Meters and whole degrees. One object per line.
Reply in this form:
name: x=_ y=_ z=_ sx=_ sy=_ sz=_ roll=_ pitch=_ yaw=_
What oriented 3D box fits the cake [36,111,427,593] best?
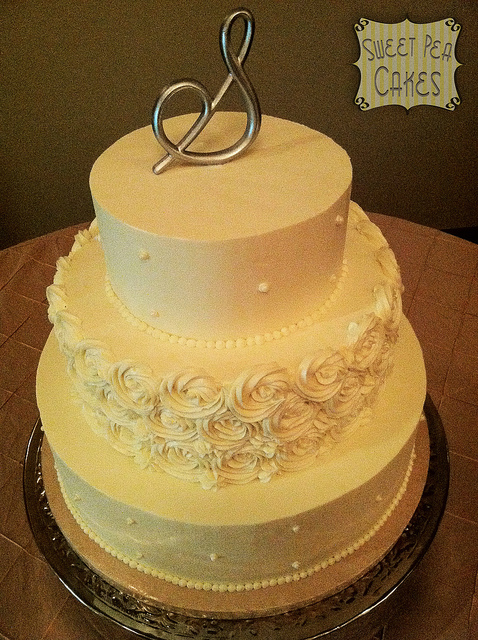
cake: x=-0.014 y=0.093 z=2.559 sx=1.565 sy=1.050 sz=1.482 roll=9 pitch=29 yaw=16
